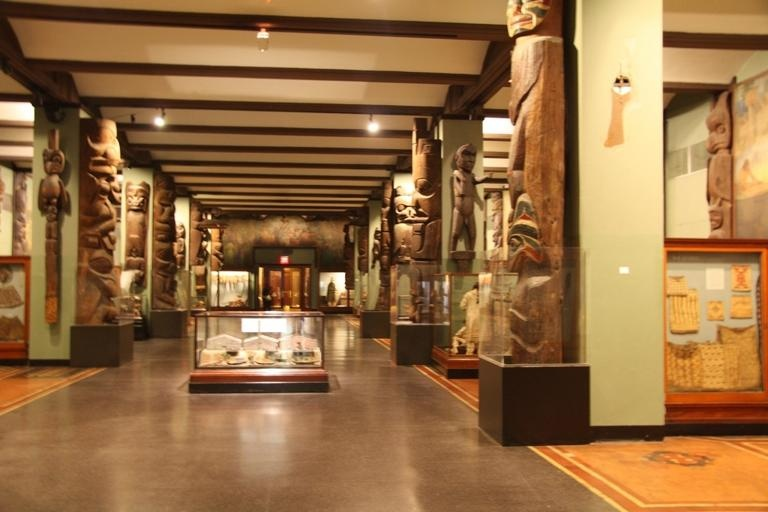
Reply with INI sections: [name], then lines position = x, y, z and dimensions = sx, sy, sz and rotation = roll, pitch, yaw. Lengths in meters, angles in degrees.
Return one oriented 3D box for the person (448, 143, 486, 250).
[person]
position = 1.591, -1.141, 12.134
dimensions = 0.632, 2.047, 0.363
rotation = 0, 7, 4
